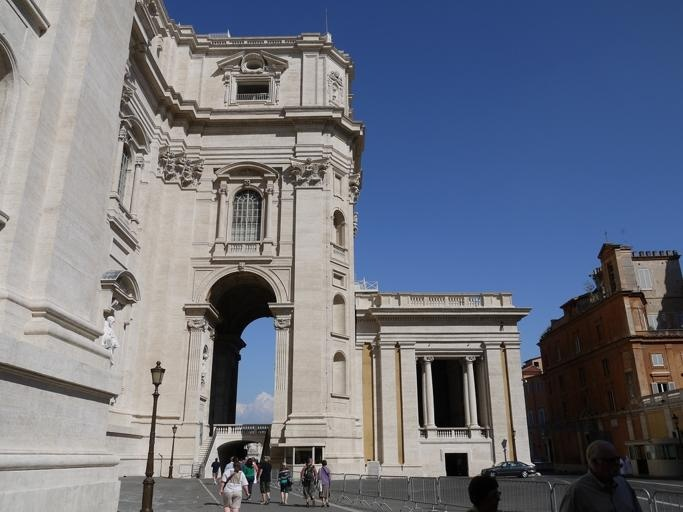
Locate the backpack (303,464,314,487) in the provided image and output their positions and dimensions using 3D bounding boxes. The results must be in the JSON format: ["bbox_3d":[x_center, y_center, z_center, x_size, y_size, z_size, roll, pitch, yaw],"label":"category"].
[{"bbox_3d":[-1.250,8.316,19.155,0.520,0.778,0.422,2,-37,0],"label":"backpack"}]

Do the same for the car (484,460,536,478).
[{"bbox_3d":[11.089,13.766,32.624,2.738,1.033,3.407,-12,-27,25],"label":"car"}]
